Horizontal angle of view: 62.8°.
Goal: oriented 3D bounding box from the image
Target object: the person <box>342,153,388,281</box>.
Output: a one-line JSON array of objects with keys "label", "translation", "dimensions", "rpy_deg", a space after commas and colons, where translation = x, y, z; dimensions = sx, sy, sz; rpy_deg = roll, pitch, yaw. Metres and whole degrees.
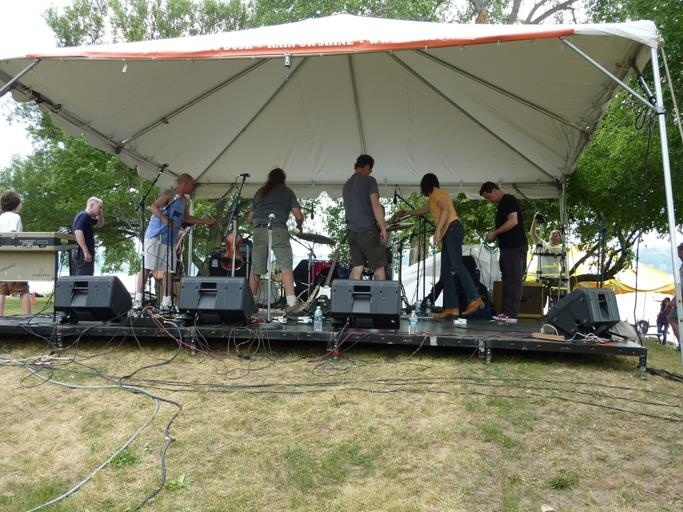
[{"label": "person", "translation": [0.277, -0.441, 6.484], "dimensions": [0.489, 1.446, 0.732], "rpy_deg": [-1, 11, -4]}]

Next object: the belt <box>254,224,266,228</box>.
[{"label": "belt", "translation": [-0.951, -0.354, 6.517], "dimensions": [0.176, 0.046, 0.032], "rpy_deg": [6, 12, 26]}]

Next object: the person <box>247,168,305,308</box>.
[{"label": "person", "translation": [-0.777, -0.181, 6.622], "dimensions": [0.654, 1.668, 1.085], "rpy_deg": [-2, 11, -9]}]

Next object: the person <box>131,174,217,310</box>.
[{"label": "person", "translation": [-2.024, -0.189, 6.887], "dimensions": [1.029, 1.690, 0.738], "rpy_deg": [5, -5, -29]}]

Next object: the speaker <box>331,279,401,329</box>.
[{"label": "speaker", "translation": [0.297, 0.466, 5.778], "dimensions": [0.729, 0.516, 0.536], "rpy_deg": [0, 8, 15]}]

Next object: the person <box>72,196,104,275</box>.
[{"label": "person", "translation": [-3.159, -0.203, 6.895], "dimensions": [0.346, 0.957, 1.172], "rpy_deg": [-4, 11, -20]}]

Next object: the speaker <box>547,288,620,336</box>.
[{"label": "speaker", "translation": [2.413, 0.526, 5.556], "dimensions": [0.414, 0.552, 0.558], "rpy_deg": [3, 1, -26]}]

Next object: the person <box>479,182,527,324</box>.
[{"label": "person", "translation": [2.012, -0.015, 7.011], "dimensions": [0.592, 1.761, 0.832], "rpy_deg": [3, 11, 17]}]

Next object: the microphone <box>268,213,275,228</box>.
[{"label": "microphone", "translation": [-0.785, -0.393, 6.213], "dimensions": [0.110, 0.124, 0.311], "rpy_deg": [13, -6, -7]}]

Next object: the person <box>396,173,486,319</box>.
[{"label": "person", "translation": [1.290, -0.077, 7.257], "dimensions": [1.100, 1.958, 1.344], "rpy_deg": [0, 11, -1]}]

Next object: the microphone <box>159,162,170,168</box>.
[{"label": "microphone", "translation": [-2.555, -1.314, 7.993], "dimensions": [0.134, 0.042, 0.138], "rpy_deg": [1, 12, -3]}]

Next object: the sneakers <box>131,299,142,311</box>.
[{"label": "sneakers", "translation": [-2.419, 0.577, 6.596], "dimensions": [0.104, 0.051, 0.123], "rpy_deg": [-1, 15, -18]}]

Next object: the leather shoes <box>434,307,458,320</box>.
[{"label": "leather shoes", "translation": [1.380, 0.769, 7.236], "dimensions": [0.380, 0.124, 0.168], "rpy_deg": [-2, 43, 13]}]

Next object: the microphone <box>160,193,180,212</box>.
[{"label": "microphone", "translation": [-2.110, -0.626, 6.790], "dimensions": [0.104, 0.093, 0.380], "rpy_deg": [23, -53, -42]}]

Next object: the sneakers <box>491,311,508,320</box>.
[{"label": "sneakers", "translation": [1.942, 0.737, 6.904], "dimensions": [0.075, 0.096, 0.205], "rpy_deg": [6, -3, -24]}]

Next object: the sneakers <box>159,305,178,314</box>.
[{"label": "sneakers", "translation": [-2.008, 0.628, 6.437], "dimensions": [0.107, 0.055, 0.146], "rpy_deg": [2, 4, 8]}]

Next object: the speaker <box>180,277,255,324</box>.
[{"label": "speaker", "translation": [-1.348, 0.488, 5.864], "dimensions": [0.684, 0.617, 0.519], "rpy_deg": [2, 7, 1]}]

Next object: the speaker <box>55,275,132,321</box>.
[{"label": "speaker", "translation": [-2.624, 0.477, 5.883], "dimensions": [0.662, 0.549, 0.489], "rpy_deg": [0, 1, 6]}]
